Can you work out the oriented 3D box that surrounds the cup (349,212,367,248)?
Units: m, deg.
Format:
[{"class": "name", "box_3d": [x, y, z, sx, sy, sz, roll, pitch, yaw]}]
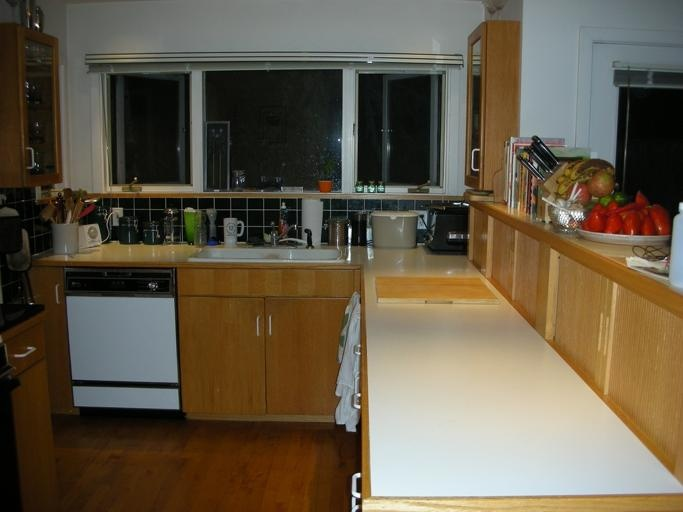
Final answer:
[{"class": "cup", "box_3d": [0.141, -0.206, 4.321, 0.123, 0.249, 0.109, 0, 13, -1]}]

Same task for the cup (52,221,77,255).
[{"class": "cup", "box_3d": [-1.944, -0.122, 3.866, 0.183, 0.231, 0.190, 2, 7, 0]}]

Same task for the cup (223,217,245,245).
[{"class": "cup", "box_3d": [-0.851, -0.192, 4.315, 0.167, 0.217, 0.239, -1, 14, -5]}]

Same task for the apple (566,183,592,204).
[{"class": "apple", "box_3d": [0.959, -0.241, 2.208, 0.077, 0.101, 0.076, 9, -8, -44]}]

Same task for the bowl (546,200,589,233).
[{"class": "bowl", "box_3d": [0.908, -0.158, 2.230, 0.120, 0.094, 0.127, -1, 6, 0]}]

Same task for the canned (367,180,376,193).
[{"class": "canned", "box_3d": [0.243, -0.543, 4.388, 0.083, 0.126, 0.063, 0, 1, -3]}]

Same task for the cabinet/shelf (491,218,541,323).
[{"class": "cabinet/shelf", "box_3d": [0.829, 0.080, 2.584, 0.200, 0.263, 0.412, 1, 13, -2]}]

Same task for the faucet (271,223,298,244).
[{"class": "faucet", "box_3d": [-0.447, -0.174, 4.307, 0.258, 0.133, 0.193, -6, 15, -23]}]

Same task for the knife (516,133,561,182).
[{"class": "knife", "box_3d": [0.928, -0.455, 2.553, 0.063, 0.134, 0.254, 1, 52, -35]}]

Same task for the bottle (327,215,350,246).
[{"class": "bottle", "box_3d": [-0.024, -0.172, 4.276, 0.187, 0.223, 0.173, 1, 7, 0]}]

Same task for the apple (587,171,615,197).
[{"class": "apple", "box_3d": [1.038, -0.277, 2.191, 0.090, 0.123, 0.099, -2, -4, 26]}]

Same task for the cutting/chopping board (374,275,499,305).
[{"class": "cutting/chopping board", "box_3d": [0.495, 0.173, 2.941, 0.624, 0.052, 0.571, 0, 15, 2]}]

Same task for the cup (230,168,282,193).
[{"class": "cup", "box_3d": [-0.663, -0.584, 4.316, 0.483, 0.212, 0.164, 0, 5, -1]}]

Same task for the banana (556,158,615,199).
[{"class": "banana", "box_3d": [1.030, -0.326, 2.293, 0.199, 0.099, 0.211, -24, 21, 12]}]

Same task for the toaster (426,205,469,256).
[{"class": "toaster", "box_3d": [0.781, -0.210, 4.146, 0.255, 0.353, 0.473, 3, 11, -2]}]

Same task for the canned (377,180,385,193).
[{"class": "canned", "box_3d": [0.322, -0.541, 4.392, 0.064, 0.083, 0.064, 1, 13, 4]}]

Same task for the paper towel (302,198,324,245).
[{"class": "paper towel", "box_3d": [-0.223, -0.253, 4.284, 0.153, 0.348, 0.186, -2, 13, -8]}]

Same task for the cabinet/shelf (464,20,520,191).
[{"class": "cabinet/shelf", "box_3d": [0.953, -1.075, 3.657, 0.194, 0.813, 0.556, -2, 14, -2]}]

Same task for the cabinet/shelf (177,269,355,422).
[{"class": "cabinet/shelf", "box_3d": [-0.520, 0.582, 4.005, 1.133, 1.108, 0.579, 0, 5, 1]}]

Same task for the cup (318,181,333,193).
[{"class": "cup", "box_3d": [-0.125, -0.537, 4.333, 0.088, 0.073, 0.090, 0, 9, 0]}]
